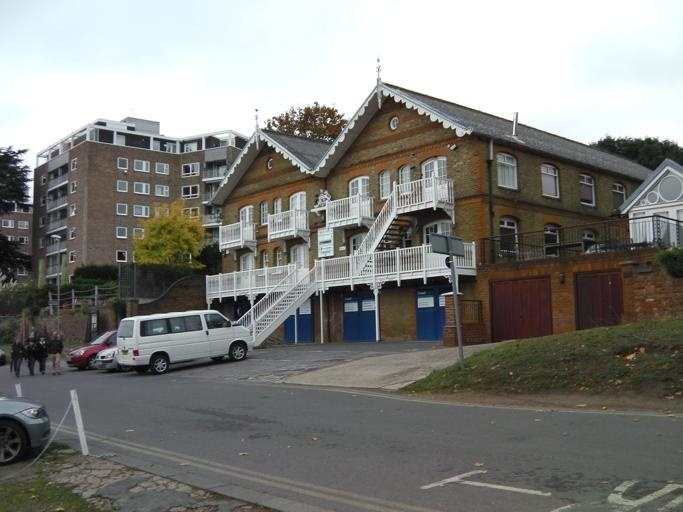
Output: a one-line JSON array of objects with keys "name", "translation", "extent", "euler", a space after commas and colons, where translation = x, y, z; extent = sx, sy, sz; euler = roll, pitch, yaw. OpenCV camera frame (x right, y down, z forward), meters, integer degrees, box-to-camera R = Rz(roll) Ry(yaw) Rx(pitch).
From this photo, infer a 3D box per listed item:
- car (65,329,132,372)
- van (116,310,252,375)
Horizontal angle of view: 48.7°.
[{"name": "car", "translation": [-10.315, 3.968, 31.835], "extent": [2.421, 1.118, 1.415], "euler": [2, -4, -21]}, {"name": "van", "translation": [-5.876, 3.089, 27.540], "extent": [4.224, 1.746, 2.105], "euler": [-3, -1, -40]}]
